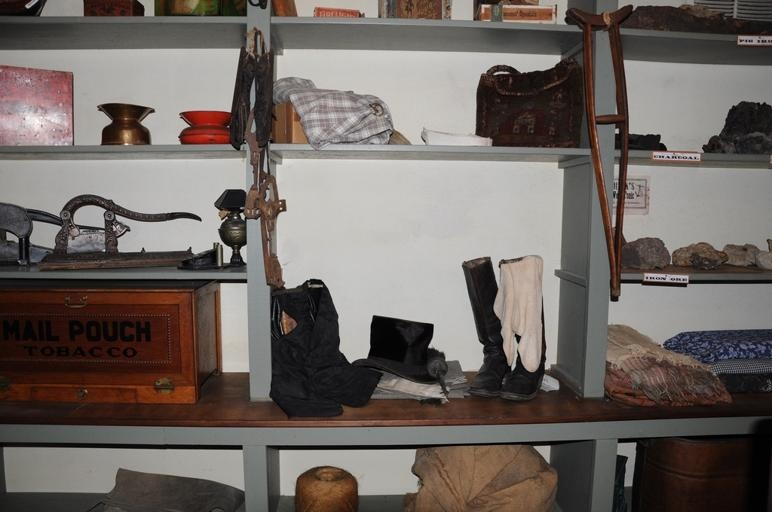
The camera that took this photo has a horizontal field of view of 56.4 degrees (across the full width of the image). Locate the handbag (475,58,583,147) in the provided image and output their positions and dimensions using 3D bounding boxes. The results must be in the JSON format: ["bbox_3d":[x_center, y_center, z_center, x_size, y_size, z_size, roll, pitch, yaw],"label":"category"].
[{"bbox_3d":[0.801,-0.828,4.001,0.517,0.464,0.195,1,-1,11],"label":"handbag"}]

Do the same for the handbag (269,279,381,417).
[{"bbox_3d":[-0.414,0.496,4.153,0.580,0.758,0.742,-2,1,20],"label":"handbag"}]

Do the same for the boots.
[{"bbox_3d":[0.658,0.391,4.029,0.455,0.770,0.270,1,4,9],"label":"boots"}]
